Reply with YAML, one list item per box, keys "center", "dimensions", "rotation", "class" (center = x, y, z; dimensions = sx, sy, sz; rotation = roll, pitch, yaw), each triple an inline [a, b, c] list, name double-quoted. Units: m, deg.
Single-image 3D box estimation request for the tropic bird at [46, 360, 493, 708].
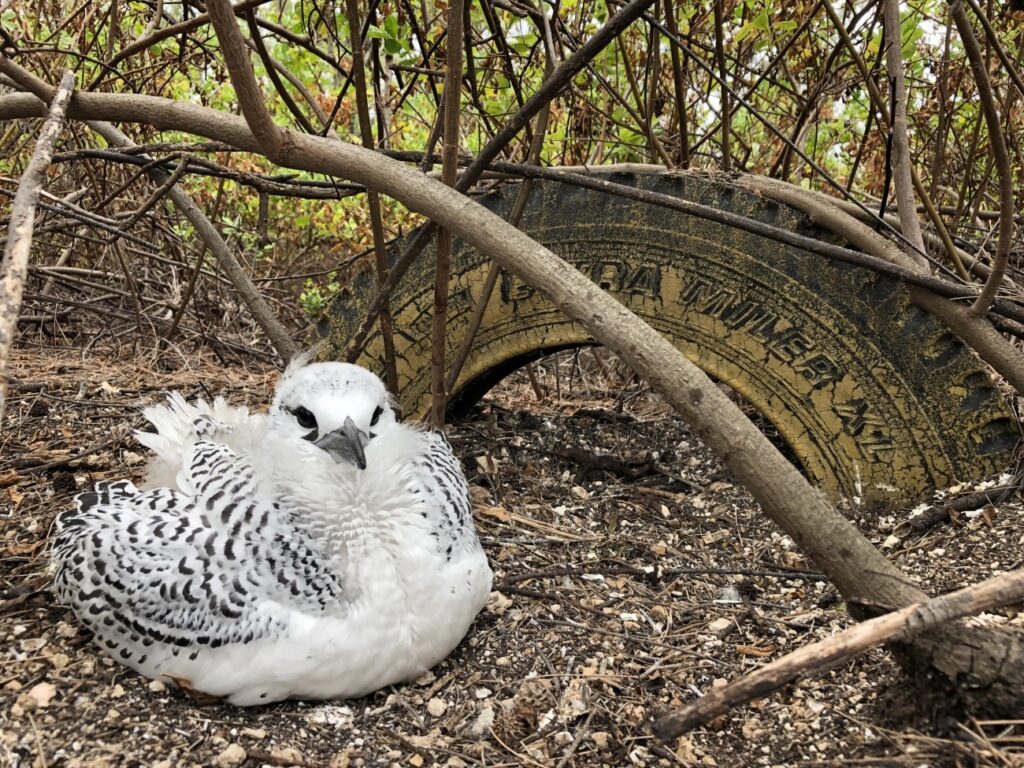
- center: [-0.797, 0.492, 3.604]
  dimensions: [1.386, 1.106, 0.529]
  rotation: [11, 9, 0]
  class: "tropic bird"
